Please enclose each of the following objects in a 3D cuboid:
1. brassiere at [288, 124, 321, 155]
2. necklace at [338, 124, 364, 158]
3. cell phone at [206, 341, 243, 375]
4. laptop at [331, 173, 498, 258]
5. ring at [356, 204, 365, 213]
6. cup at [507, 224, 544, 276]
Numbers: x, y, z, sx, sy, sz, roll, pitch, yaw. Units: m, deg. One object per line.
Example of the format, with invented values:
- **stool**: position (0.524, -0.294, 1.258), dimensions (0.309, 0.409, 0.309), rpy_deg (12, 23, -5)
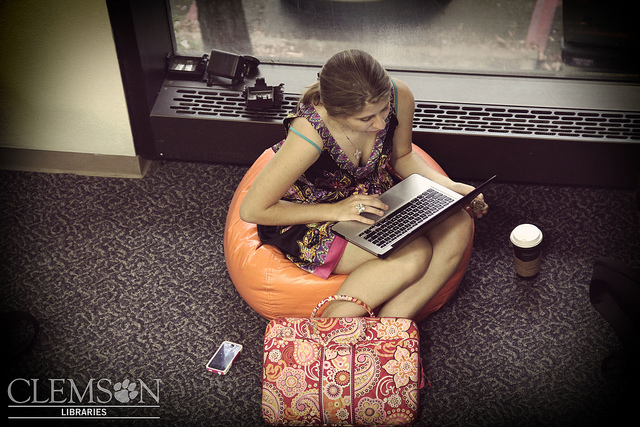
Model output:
- **brassiere**: position (-0.062, -0.295, 1.843), dimensions (0.107, 0.098, 0.025), rpy_deg (37, 95, -14)
- **necklace**: position (0.120, -0.290, 1.871), dimensions (0.130, 0.129, 0.010), rpy_deg (-7, 33, -5)
- **cell phone**: position (-0.413, 0.631, 2.062), dimensions (0.091, 0.036, 0.156), rpy_deg (27, 56, 12)
- **laptop**: position (0.338, 0.008, 1.952), dimensions (0.497, 0.177, 0.384), rpy_deg (-35, 55, -28)
- **ring**: position (0.164, -0.021, 1.921), dimensions (0.031, 0.009, 0.030), rpy_deg (0, 81, -1)
- **cup**: position (0.956, 0.181, 2.192), dimensions (0.157, 0.208, 0.165), rpy_deg (-8, 44, 8)
